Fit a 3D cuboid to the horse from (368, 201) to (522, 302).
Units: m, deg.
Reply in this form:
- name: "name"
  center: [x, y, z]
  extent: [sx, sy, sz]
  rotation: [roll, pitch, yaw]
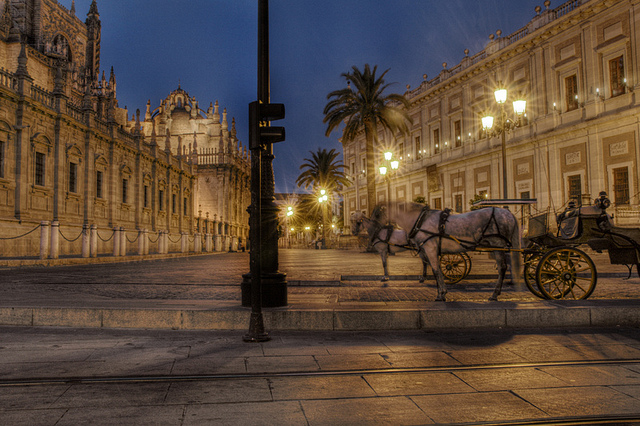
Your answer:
- name: "horse"
  center: [4.470, 1.269, 24.709]
  extent: [6.080, 3.815, 4.104]
  rotation: [-4, -6, 27]

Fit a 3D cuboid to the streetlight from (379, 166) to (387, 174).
- name: "streetlight"
  center: [3.744, -2.554, 39.464]
  extent: [0.720, 0.371, 0.992]
  rotation: [-1, -2, 4]

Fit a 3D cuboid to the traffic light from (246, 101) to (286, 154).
- name: "traffic light"
  center: [-1.727, -2.817, 21.356]
  extent: [1.054, 1.814, 0.852]
  rotation: [-1, -5, -2]

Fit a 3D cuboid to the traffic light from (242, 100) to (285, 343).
- name: "traffic light"
  center: [-1.813, 0.248, 20.929]
  extent: [1.282, 7.578, 0.686]
  rotation: [-1, -5, -8]

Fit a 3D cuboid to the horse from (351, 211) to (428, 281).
- name: "horse"
  center: [2.818, 1.368, 26.452]
  extent: [3.853, 2.481, 0.935]
  rotation: [6, -13, -25]
